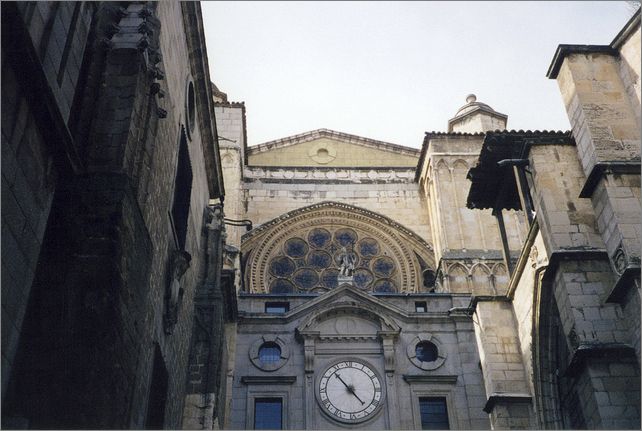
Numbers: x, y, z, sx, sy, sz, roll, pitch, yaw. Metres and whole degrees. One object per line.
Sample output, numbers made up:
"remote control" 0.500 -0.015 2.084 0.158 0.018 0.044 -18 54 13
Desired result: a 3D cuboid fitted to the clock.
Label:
"clock" 0.961 6.282 26.991 2.070 2.328 0.186 6 -41 2
